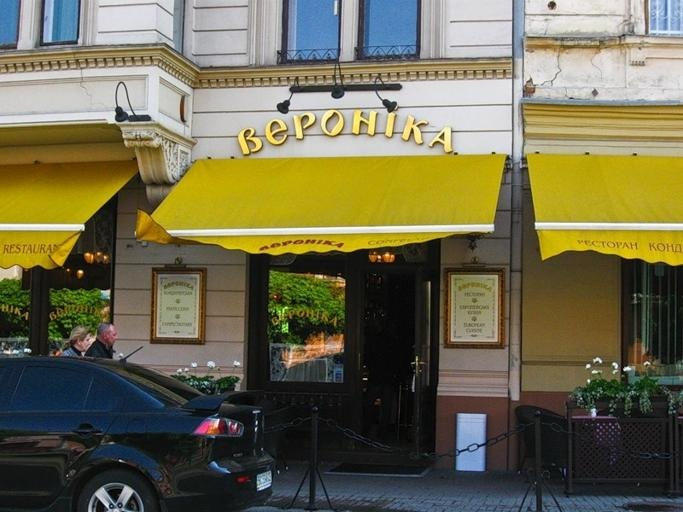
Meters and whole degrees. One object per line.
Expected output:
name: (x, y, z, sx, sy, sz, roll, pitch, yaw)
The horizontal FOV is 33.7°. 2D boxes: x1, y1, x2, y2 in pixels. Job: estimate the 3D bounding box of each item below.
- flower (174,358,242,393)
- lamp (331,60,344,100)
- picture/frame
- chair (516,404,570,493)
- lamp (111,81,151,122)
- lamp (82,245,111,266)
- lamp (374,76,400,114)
flower: (-1.981, 1.855, 17.033, 0.886, 0.518, 0.858, 2, 0, 23)
lamp: (-0.042, -2.688, 17.272, 0.206, 0.564, 0.158, -1, -9, 2)
picture/frame: (-2.503, 0.836, 17.623, 0.977, 1.220, 0.091, 0, -6, 7)
chair: (2.876, 2.749, 16.100, 0.904, 1.090, 0.967, -2, -8, 19)
lamp: (-3.025, -2.234, 16.511, 0.680, 0.717, 0.431, -1, 1, 19)
lamp: (-3.891, 0.025, 18.081, 0.453, 0.229, 0.073, -2, -9, 13)
lamp: (0.697, -2.457, 17.144, 0.351, 0.590, 0.152, -1, -9, 4)
